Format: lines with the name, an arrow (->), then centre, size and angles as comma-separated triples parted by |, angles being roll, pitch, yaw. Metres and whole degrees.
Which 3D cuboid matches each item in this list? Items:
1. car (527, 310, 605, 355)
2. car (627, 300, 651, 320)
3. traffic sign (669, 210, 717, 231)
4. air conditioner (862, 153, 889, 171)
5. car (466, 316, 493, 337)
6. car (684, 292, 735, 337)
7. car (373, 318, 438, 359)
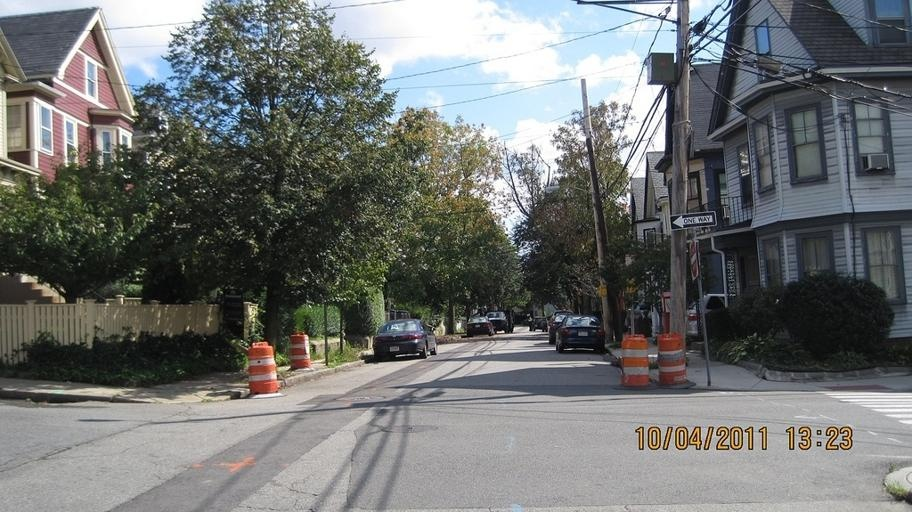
car -> 6.037, 4.039, 36.694 | 1.841, 1.937, 2.422 | -7, 9, -42
car -> 11.420, 3.496, 46.437 | 1.528, 0.786, 2.210 | 0, -3, -1
traffic sign -> 8.030, -1.193, 25.420 | 1.426, 0.647, 1.484 | 1, 7, 15
air conditioner -> 15.983, -3.599, 28.372 | 0.998, 0.686, 0.359 | 0, 8, 2
car -> 1.782, 5.777, 58.834 | 1.982, 1.531, 1.370 | -1, 7, -1
car -> 11.961, 2.822, 35.927 | 3.716, 1.890, 2.106 | -1, -5, -11
car -> -2.639, 4.230, 36.377 | 2.730, 2.082, 2.552 | 0, 7, 7
